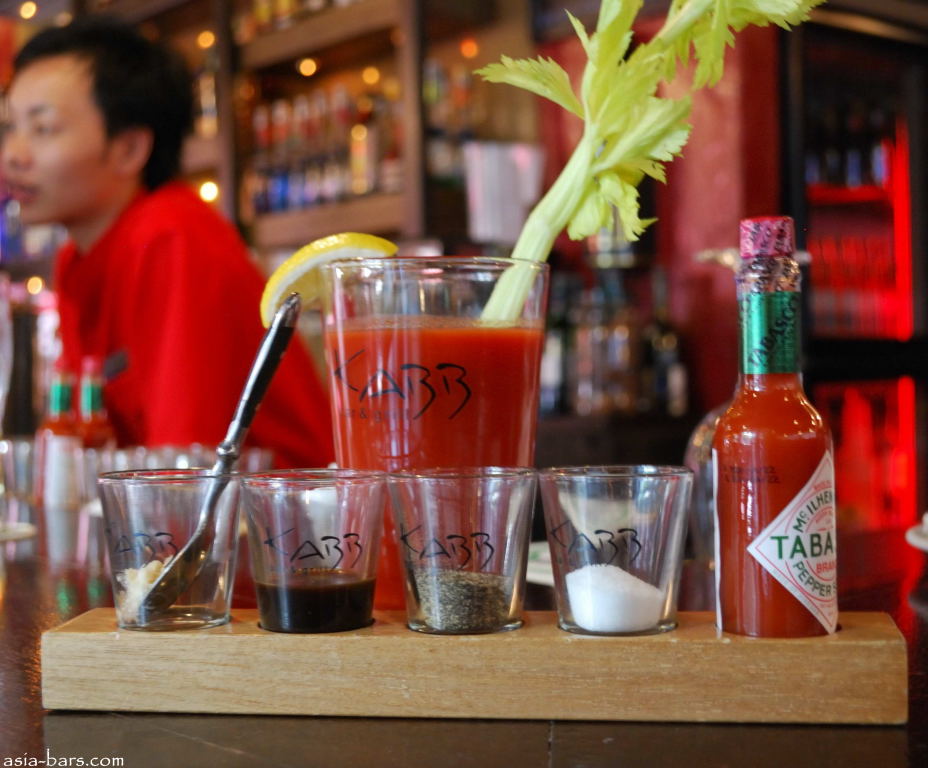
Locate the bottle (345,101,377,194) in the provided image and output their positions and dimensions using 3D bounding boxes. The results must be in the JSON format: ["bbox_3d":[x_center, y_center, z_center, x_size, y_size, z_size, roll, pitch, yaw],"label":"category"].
[{"bbox_3d":[-0.364,-0.842,3.700,0.111,0.359,0.192,-2,-4,-7],"label":"bottle"}]

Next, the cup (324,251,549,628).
[{"bbox_3d":[-0.017,0.017,0.886,0.162,0.267,0.164,-2,14,0],"label":"cup"}]

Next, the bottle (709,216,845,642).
[{"bbox_3d":[0.209,0.030,0.714,0.082,0.287,0.040,-4,-3,21],"label":"bottle"}]

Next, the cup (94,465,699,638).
[{"bbox_3d":[-0.060,0.118,0.740,0.426,0.127,0.062,-4,-4,12],"label":"cup"}]

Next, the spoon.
[{"bbox_3d":[-0.185,0.056,0.825,0.062,0.335,0.065,17,-9,-34],"label":"spoon"}]
